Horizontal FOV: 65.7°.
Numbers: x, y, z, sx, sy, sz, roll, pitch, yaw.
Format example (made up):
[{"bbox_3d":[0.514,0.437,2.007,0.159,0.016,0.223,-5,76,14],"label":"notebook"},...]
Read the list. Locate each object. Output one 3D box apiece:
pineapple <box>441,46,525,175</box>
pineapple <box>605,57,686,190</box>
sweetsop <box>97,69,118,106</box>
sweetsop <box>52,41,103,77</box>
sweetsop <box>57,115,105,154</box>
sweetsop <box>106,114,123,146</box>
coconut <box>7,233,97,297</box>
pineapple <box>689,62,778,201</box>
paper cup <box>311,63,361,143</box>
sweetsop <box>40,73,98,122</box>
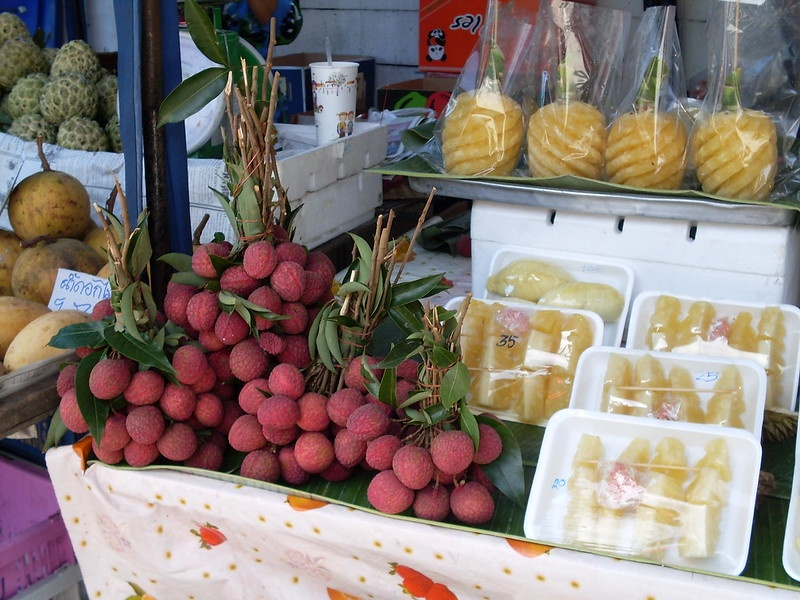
[{"bbox_3d":[0.187,-0.431,1.418,0.190,0.291,0.139,6,12,19],"label":"pineapple"},{"bbox_3d":[0.527,-0.369,1.339,0.155,0.307,0.170,9,12,21],"label":"pineapple"},{"bbox_3d":[-0.947,-0.680,2.004,0.056,0.105,0.065,-3,13,-28],"label":"sweetsop"},{"bbox_3d":[-1.037,-0.776,1.982,0.142,0.121,0.105,-3,13,-26],"label":"sweetsop"},{"bbox_3d":[-0.954,-0.496,1.878,0.120,0.108,0.118,-2,57,-19],"label":"sweetsop"},{"bbox_3d":[-0.900,-0.530,1.944,0.038,0.100,0.144,-3,14,-28],"label":"sweetsop"},{"bbox_3d":[-0.788,-0.067,1.461,0.142,0.157,0.150,-24,-5,15],"label":"coconut"},{"bbox_3d":[0.690,-0.348,1.280,0.157,0.269,0.153,-8,15,-42],"label":"pineapple"},{"bbox_3d":[-0.207,-0.615,1.906,0.151,0.254,0.157,1,36,-1],"label":"paper cup"},{"bbox_3d":[-1.016,-0.605,1.944,0.138,0.157,0.150,-1,0,3],"label":"sweetsop"}]
